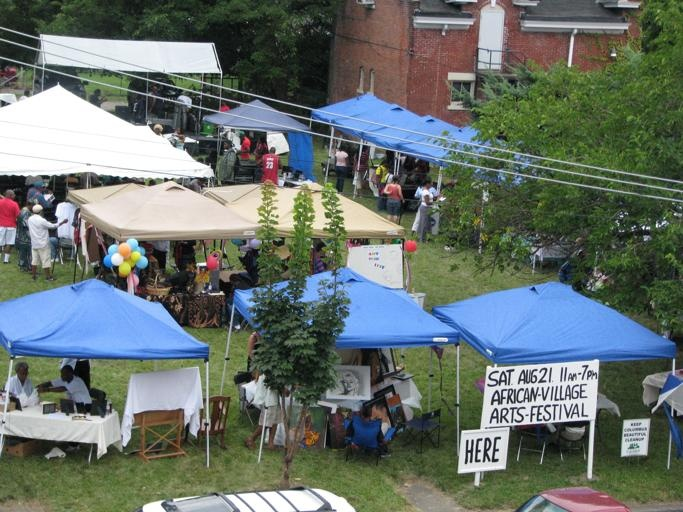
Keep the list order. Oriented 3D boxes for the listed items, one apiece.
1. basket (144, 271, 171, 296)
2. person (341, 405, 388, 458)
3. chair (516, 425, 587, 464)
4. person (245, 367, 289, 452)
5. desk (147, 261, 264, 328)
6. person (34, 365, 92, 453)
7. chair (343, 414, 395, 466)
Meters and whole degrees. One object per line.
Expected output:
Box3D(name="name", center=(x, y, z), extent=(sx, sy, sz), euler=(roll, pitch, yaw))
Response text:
Box3D(name="basket", center=(-4.932, 0.716, 39.379), extent=(0.470, 0.519, 0.756), euler=(-3, 10, -41))
Box3D(name="person", center=(0.621, 4.111, 34.840), extent=(0.961, 1.112, 0.888), euler=(2, 5, 10))
Box3D(name="chair", center=(5.104, 4.512, 35.457), extent=(1.543, 0.991, 1.411), euler=(-4, 7, -16))
Box3D(name="person", center=(-1.642, 3.362, 34.723), extent=(0.998, 2.212, 0.786), euler=(-9, 10, -26))
Box3D(name="desk", center=(-4.097, 1.159, 39.754), extent=(2.214, 1.640, 1.501), euler=(-5, 14, -37))
Box3D(name="person", center=(-6.352, 3.143, 34.297), extent=(1.115, 2.085, 0.982), euler=(-1, 10, -20))
Box3D(name="chair", center=(0.581, 4.175, 34.927), extent=(1.365, 1.343, 0.996), euler=(4, 6, 7))
